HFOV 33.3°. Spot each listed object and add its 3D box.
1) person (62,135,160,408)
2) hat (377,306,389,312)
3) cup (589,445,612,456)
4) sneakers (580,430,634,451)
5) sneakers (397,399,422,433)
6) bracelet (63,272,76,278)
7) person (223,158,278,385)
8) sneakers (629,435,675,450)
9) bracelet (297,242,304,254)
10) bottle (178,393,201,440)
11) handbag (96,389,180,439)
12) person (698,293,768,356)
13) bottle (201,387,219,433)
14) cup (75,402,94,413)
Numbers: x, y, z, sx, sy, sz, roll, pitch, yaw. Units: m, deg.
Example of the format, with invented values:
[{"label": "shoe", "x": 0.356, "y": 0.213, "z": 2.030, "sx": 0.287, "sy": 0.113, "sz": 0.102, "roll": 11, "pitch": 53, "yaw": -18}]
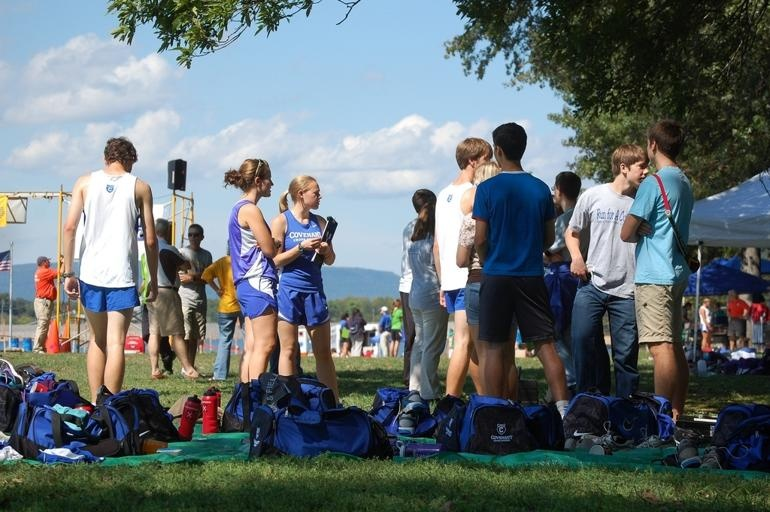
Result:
[{"label": "person", "x": -3.696, "y": 0.117, "z": 17.391, "sx": 1.220, "sy": 3.405, "sz": 0.578, "roll": -1, "pitch": -9, "yaw": -14}, {"label": "hat", "x": -0.030, "y": 1.699, "z": 40.556, "sx": 0.202, "sy": 0.140, "sz": 0.274, "roll": -14, "pitch": 24, "yaw": -43}, {"label": "cup", "x": 2.691, "y": 2.394, "z": 16.023, "sx": 0.270, "sy": 0.128, "sz": 0.130, "roll": -4, "pitch": -9, "yaw": 5}, {"label": "sneakers", "x": 2.774, "y": 2.321, "z": 16.163, "sx": 0.458, "sy": 0.171, "sz": 0.282, "roll": 2, "pitch": -3, "yaw": 3}, {"label": "sneakers", "x": 0.328, "y": 2.128, "z": 16.886, "sx": 0.185, "sy": 0.561, "sz": 0.244, "roll": 18, "pitch": -12, "yaw": 2}, {"label": "bracelet", "x": -4.240, "y": 0.250, "z": 17.363, "sx": 0.090, "sy": 0.084, "sz": 0.267, "roll": -6, "pitch": -9, "yaw": 19}, {"label": "person", "x": -1.771, "y": 0.171, "z": 17.462, "sx": 0.646, "sy": 3.037, "sz": 1.146, "roll": -2, "pitch": -9, "yaw": -7}, {"label": "sneakers", "x": 3.375, "y": 2.335, "z": 16.237, "sx": 0.538, "sy": 0.213, "sz": 0.182, "roll": 0, "pitch": -7, "yaw": -3}, {"label": "bracelet", "x": -1.127, "y": -0.114, "z": 17.504, "sx": 0.078, "sy": 0.121, "sz": 0.111, "roll": 0, "pitch": -3, "yaw": -8}, {"label": "bottle", "x": -2.533, "y": 2.097, "z": 16.844, "sx": 0.305, "sy": 0.591, "sz": 0.423, "roll": -2, "pitch": -9, "yaw": -8}, {"label": "handbag", "x": -3.132, "y": 1.999, "z": 16.392, "sx": 0.838, "sy": 0.428, "sz": 0.634, "roll": 8, "pitch": -13, "yaw": 37}, {"label": "person", "x": 9.076, "y": 1.795, "z": 33.433, "sx": 1.537, "sy": 2.487, "sz": 0.823, "roll": -12, "pitch": -40, "yaw": 43}, {"label": "bottle", "x": -2.294, "y": 2.053, "z": 17.167, "sx": 0.295, "sy": 0.609, "sz": 0.242, "roll": 2, "pitch": -10, "yaw": -27}, {"label": "cup", "x": -3.798, "y": 1.912, "z": 16.365, "sx": 0.127, "sy": 0.129, "sz": 0.169, "roll": 17, "pitch": -4, "yaw": 10}]
